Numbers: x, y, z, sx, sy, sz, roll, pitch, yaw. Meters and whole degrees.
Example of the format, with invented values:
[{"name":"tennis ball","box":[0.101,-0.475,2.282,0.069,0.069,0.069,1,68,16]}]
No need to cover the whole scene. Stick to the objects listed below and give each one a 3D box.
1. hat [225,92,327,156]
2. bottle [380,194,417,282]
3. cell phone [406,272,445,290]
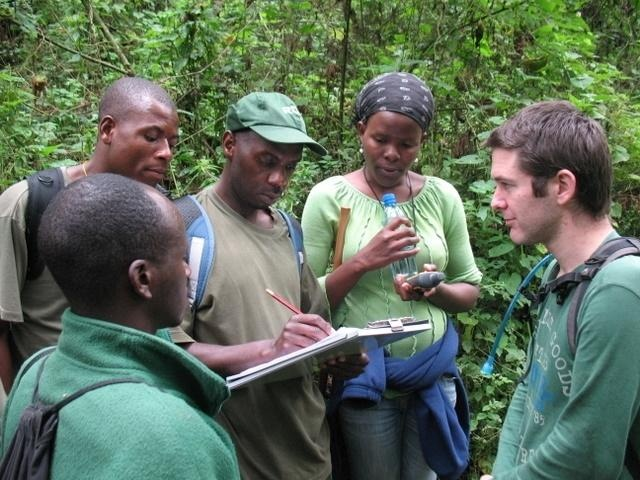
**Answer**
[{"name":"hat","box":[-0.258,-0.660,3.300,0.402,0.210,0.303,14,3,26]},{"name":"bottle","box":[0.489,-0.031,3.712,0.183,0.476,0.382,2,10,-23]},{"name":"cell phone","box":[0.590,0.225,3.443,0.076,0.089,0.324,-30,6,-23]}]
